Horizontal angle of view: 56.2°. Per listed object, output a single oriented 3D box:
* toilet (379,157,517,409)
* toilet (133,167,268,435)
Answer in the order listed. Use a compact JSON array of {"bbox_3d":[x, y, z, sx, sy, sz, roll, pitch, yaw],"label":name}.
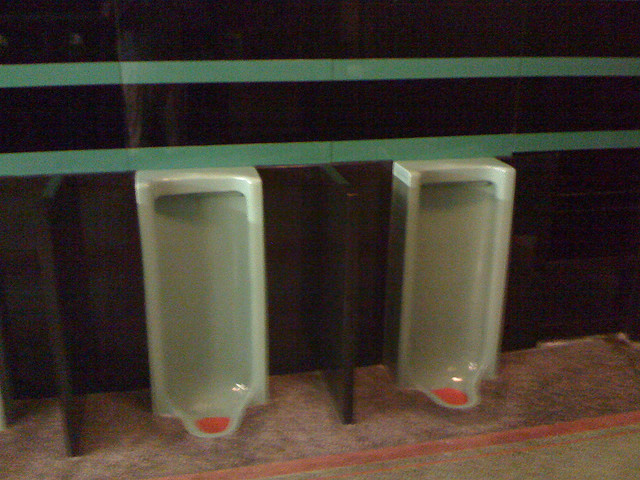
[{"bbox_3d":[0.528,0.192,2.495,0.525,1.005,0.522,2,29,5],"label":"toilet"},{"bbox_3d":[-0.449,0.251,2.346,0.507,1.033,0.508,-3,29,-4],"label":"toilet"}]
